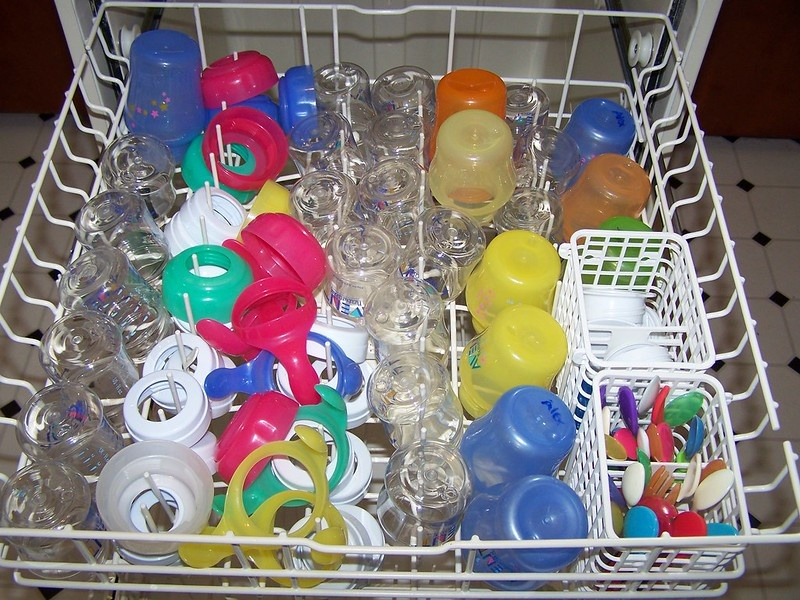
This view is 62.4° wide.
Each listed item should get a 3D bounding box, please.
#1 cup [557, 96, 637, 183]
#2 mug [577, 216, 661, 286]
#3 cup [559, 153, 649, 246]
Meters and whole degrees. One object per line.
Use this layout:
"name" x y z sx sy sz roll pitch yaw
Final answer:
"cup" 0.344 -0.287 1.226 0.131 0.152 0.143 0 63 1
"mug" 0.332 -0.066 1.028 0.104 0.111 0.115 8 59 4
"cup" 0.333 -0.196 1.149 0.125 0.133 0.151 13 61 -13
